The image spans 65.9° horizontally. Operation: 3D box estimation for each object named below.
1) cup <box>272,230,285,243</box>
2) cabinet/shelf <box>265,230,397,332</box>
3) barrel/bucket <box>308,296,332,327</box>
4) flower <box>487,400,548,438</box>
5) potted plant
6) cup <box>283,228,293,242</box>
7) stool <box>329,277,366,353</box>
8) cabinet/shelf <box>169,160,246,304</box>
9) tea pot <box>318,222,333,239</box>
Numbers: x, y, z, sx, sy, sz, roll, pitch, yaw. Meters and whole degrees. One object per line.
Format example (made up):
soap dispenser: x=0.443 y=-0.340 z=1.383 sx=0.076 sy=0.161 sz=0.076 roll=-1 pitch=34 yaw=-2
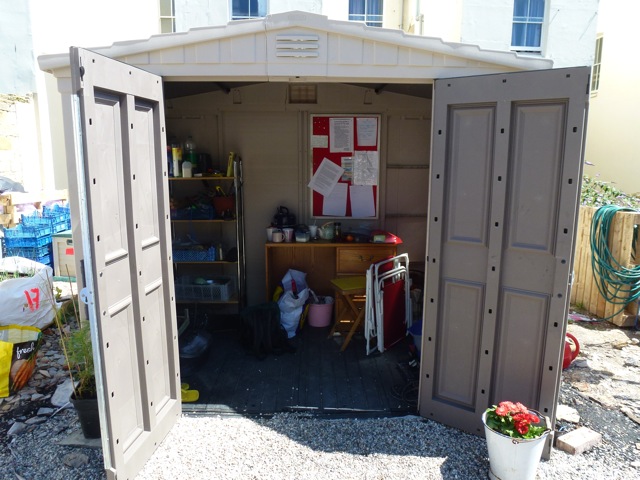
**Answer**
cup: x=-0.618 y=-0.057 z=7.191 sx=0.188 sy=0.162 sz=0.176 roll=0 pitch=13 yaw=0
cabinet/shelf: x=0.195 y=0.513 z=7.398 sx=1.907 sy=1.101 sz=0.675 roll=1 pitch=12 yaw=3
barrel/bucket: x=0.015 y=1.060 z=7.311 sx=0.279 sy=0.388 sz=0.389 roll=10 pitch=16 yaw=39
flower: x=1.722 y=1.586 z=4.359 sx=0.350 sy=0.155 sz=0.340 roll=2 pitch=10 yaw=9
potted plant: x=-2.332 y=1.406 z=4.842 sx=0.235 sy=1.053 sz=0.589 roll=-7 pitch=14 yaw=-28
cup: x=-0.473 y=-0.070 z=7.279 sx=0.165 sy=0.189 sz=0.171 roll=1 pitch=9 yaw=0
stool: x=0.383 y=0.957 z=6.853 sx=0.472 sy=0.846 sz=0.921 roll=1 pitch=13 yaw=4
cabinet/shelf: x=-1.662 y=-0.082 z=7.304 sx=1.077 sy=2.303 sz=0.897 roll=-2 pitch=13 yaw=-9
tea pot: x=0.095 y=-0.126 z=7.282 sx=0.266 sy=0.283 sz=0.164 roll=1 pitch=10 yaw=-1
